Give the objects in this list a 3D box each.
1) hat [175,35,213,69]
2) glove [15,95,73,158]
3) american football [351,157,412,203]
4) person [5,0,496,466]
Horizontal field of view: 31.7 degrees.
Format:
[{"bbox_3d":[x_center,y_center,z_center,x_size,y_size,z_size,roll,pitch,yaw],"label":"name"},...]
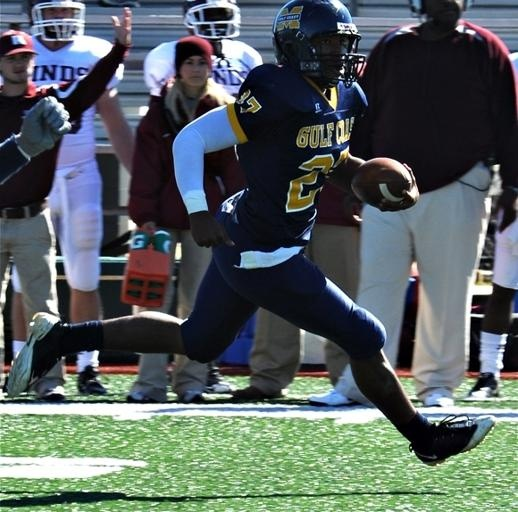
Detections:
[{"bbox_3d":[-0.256,-0.827,3.688,0.188,0.108,0.118,-13,10,7],"label":"hat"},{"bbox_3d":[-0.518,-0.308,2.190,0.123,0.147,0.082,1,10,-13],"label":"glove"},{"bbox_3d":[0.357,-0.219,2.621,0.141,0.109,0.169,-10,3,-42],"label":"american football"},{"bbox_3d":[0.009,-0.070,2.511,1.319,1.285,0.412,1,10,-12],"label":"person"}]
